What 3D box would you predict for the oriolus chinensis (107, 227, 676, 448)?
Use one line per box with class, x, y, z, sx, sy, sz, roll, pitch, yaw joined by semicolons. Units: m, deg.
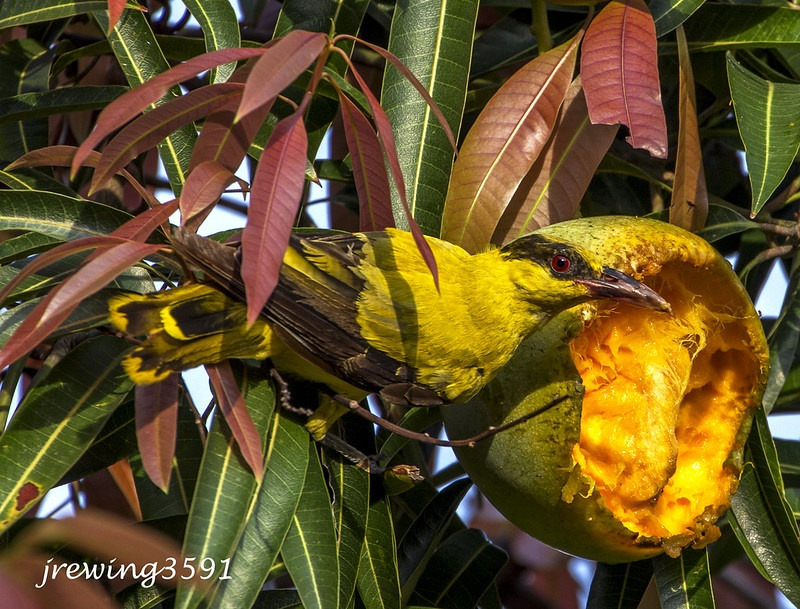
oriolus chinensis;-0.056;0.026;3.872;1.401;0.648;0.405;-3;38;-9
